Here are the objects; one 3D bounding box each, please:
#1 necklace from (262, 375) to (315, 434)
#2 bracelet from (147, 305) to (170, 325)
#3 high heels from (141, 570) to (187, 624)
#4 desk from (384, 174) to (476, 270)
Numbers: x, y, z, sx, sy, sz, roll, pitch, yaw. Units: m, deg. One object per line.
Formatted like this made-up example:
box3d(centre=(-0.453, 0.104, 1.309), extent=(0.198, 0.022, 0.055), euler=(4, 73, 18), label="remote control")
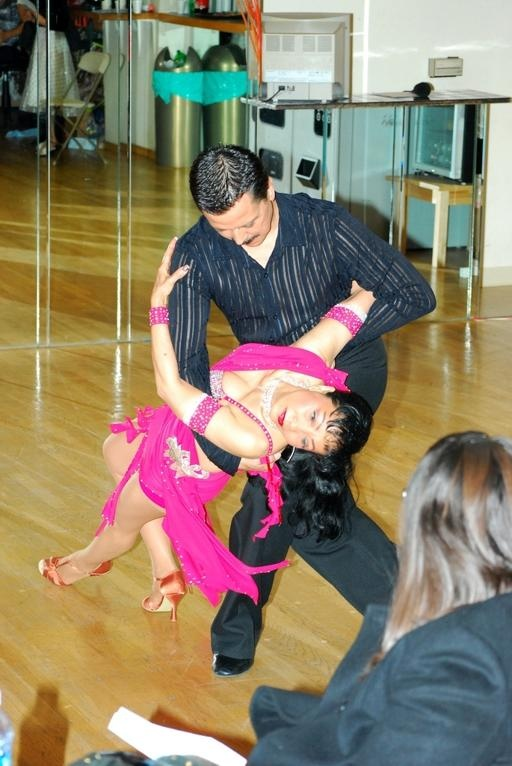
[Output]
box3d(centre=(0.067, 0.056, 1.547), extent=(0.102, 0.131, 0.064), euler=(9, -9, -2), label="necklace")
box3d(centre=(-0.254, -0.178, 1.568), extent=(0.048, 0.043, 0.048), euler=(2, 15, 4), label="bracelet")
box3d(centre=(-0.334, 0.746, 2.208), extent=(0.100, 0.164, 0.244), euler=(-4, 14, -23), label="high heels")
box3d(centre=(1.408, -1.353, 5.032), extent=(0.632, 0.614, 0.646), euler=(-3, 29, -14), label="desk")
